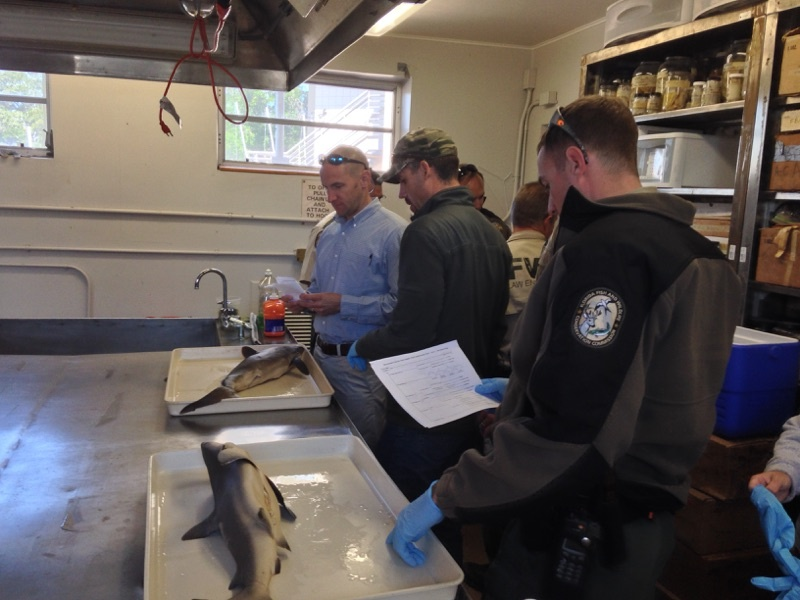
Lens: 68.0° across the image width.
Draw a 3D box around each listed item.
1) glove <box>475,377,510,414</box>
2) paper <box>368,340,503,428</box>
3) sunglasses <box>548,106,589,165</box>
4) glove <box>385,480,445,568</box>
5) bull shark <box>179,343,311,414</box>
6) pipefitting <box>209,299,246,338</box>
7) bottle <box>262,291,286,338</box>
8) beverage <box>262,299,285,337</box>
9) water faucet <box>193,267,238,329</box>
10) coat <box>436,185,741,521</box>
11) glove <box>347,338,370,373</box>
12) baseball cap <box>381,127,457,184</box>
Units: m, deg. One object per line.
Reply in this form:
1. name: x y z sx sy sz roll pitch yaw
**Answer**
1. glove: 0.314 0.317 1.970 0.103 0.045 0.106 -10 18 27
2. paper: 0.105 0.271 1.931 0.305 0.076 0.310 -14 56 -35
3. sunglasses: 0.425 -0.400 1.507 0.039 0.130 0.128 -41 12 2
4. glove: 0.052 0.544 1.416 0.129 0.143 0.069 -12 17 -37
5. bull shark: -0.559 0.253 2.213 0.160 0.109 0.445 16 17 19
6. pipefitting: -0.909 0.096 3.192 0.153 0.242 0.249 -3 10 -17
7. bottle: -0.662 0.084 3.115 0.122 0.204 0.120 0 12 0
8. beverage: -0.661 0.086 3.116 0.124 0.196 0.123 2 9 -1
9. water faucet: -1.015 -0.017 3.300 0.228 0.341 0.176 1 -18 -26
10. coat: 0.515 0.120 1.690 0.695 0.855 0.934 9 8 26
11. glove: -0.164 0.222 2.348 0.083 0.038 0.110 -12 53 -15
12. baseball cap: 0.082 -0.593 2.439 0.280 0.162 0.202 -2 16 11
